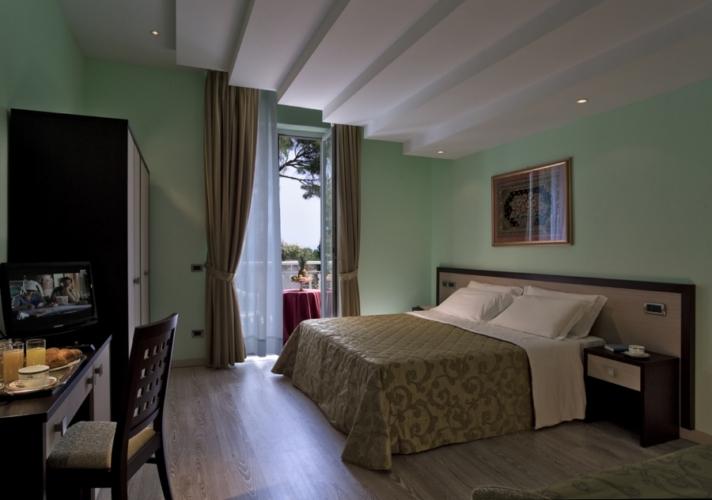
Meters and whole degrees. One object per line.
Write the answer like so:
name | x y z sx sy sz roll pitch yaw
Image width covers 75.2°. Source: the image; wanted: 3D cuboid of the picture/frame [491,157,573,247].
picture/frame | 1.841 -0.458 4.901 0.038 0.817 1.005 -1 -1 -29

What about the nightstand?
nightstand | 2.283 1.174 3.846 0.365 0.634 0.628 -1 -1 -18

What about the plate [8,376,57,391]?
plate | -1.649 0.684 2.336 0.100 0.045 0.103 -7 2 -25

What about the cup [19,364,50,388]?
cup | -1.661 0.645 2.369 0.105 0.085 0.101 0 -4 0

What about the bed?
bed | 0.734 1.081 3.765 1.360 0.409 1.386 -1 1 -22
